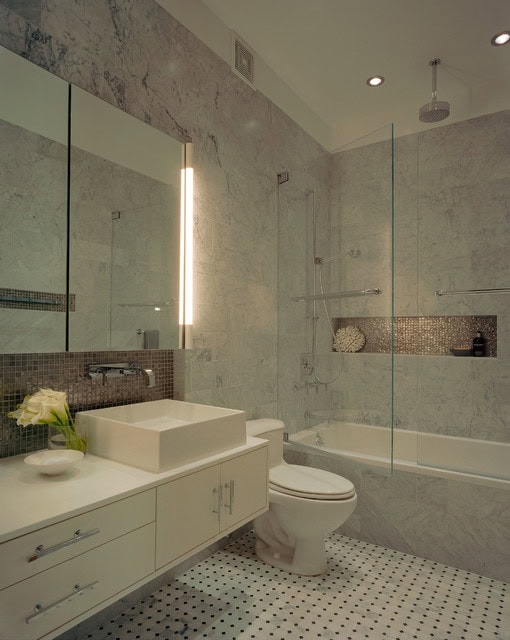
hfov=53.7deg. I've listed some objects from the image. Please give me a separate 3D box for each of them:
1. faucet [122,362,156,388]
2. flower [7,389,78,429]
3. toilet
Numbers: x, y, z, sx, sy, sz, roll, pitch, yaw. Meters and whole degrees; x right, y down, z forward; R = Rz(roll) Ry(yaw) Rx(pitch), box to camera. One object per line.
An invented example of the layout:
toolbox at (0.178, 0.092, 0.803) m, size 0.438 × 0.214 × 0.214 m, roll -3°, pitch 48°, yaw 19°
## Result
faucet at (-0.469, 0.231, 2.033) m, size 0.122 × 0.104 × 0.448 m, roll -1°, pitch 0°, yaw -13°
flower at (-0.678, 0.309, 1.597) m, size 0.136 × 0.152 × 0.139 m, roll 25°, pitch -27°, yaw -30°
toilet at (0.197, 0.871, 2.499) m, size 0.588 × 0.673 × 0.388 m, roll 5°, pitch 4°, yaw 26°
